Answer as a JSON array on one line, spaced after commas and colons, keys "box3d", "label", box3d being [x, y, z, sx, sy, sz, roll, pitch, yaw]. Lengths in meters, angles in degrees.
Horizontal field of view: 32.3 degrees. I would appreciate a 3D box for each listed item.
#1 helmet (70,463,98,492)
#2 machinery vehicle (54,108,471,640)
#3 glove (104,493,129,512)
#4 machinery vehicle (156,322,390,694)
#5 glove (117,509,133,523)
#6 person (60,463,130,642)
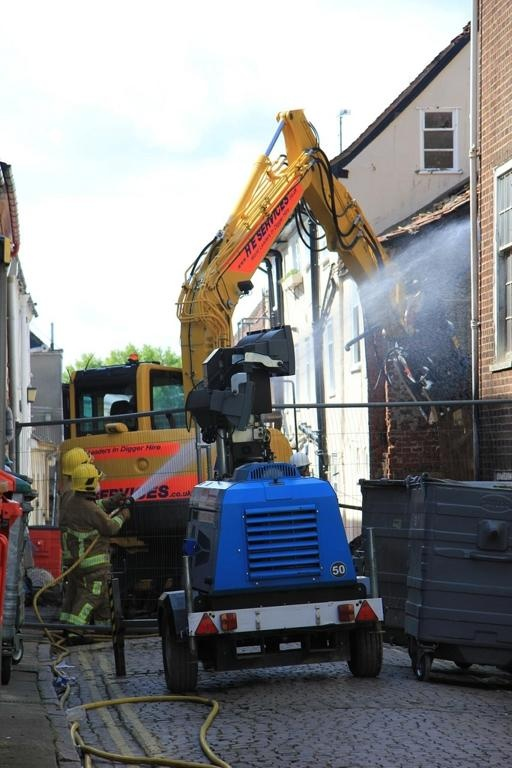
[{"box3d": [-1.856, 0.985, 9.322, 0.308, 0.269, 0.236, 0, 5, -9], "label": "helmet"}, {"box3d": [0.184, -0.567, 12.362, 6.279, 5.848, 1.751, -19, 28, -35], "label": "machinery vehicle"}, {"box3d": [-1.530, 1.246, 9.488, 0.284, 0.096, 0.212, -32, -18, 38], "label": "glove"}, {"box3d": [-0.057, 0.870, 7.375, 1.585, 2.570, 2.663, -1, 1, -7], "label": "machinery vehicle"}, {"box3d": [-1.446, 1.409, 9.465, 0.113, 0.078, 0.187, 1, -42, -10], "label": "glove"}, {"box3d": [-1.744, 1.660, 9.267, 0.772, 1.662, 0.682, -4, -2, -9], "label": "person"}]
